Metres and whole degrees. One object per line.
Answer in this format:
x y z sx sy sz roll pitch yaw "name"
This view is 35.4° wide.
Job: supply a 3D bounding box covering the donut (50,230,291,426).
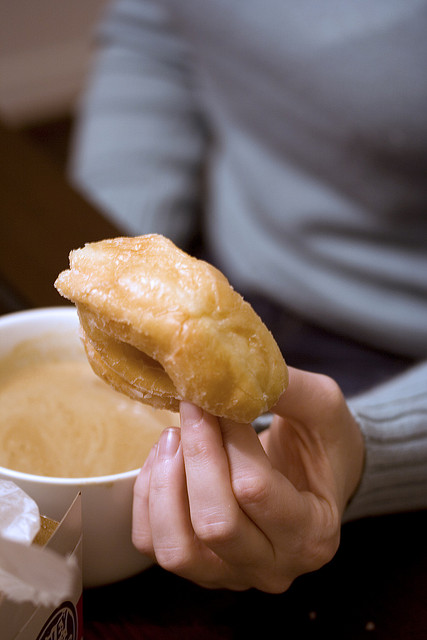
-0.045 -0.012 0.710 0.264 0.151 0.154 31 49 18 "donut"
